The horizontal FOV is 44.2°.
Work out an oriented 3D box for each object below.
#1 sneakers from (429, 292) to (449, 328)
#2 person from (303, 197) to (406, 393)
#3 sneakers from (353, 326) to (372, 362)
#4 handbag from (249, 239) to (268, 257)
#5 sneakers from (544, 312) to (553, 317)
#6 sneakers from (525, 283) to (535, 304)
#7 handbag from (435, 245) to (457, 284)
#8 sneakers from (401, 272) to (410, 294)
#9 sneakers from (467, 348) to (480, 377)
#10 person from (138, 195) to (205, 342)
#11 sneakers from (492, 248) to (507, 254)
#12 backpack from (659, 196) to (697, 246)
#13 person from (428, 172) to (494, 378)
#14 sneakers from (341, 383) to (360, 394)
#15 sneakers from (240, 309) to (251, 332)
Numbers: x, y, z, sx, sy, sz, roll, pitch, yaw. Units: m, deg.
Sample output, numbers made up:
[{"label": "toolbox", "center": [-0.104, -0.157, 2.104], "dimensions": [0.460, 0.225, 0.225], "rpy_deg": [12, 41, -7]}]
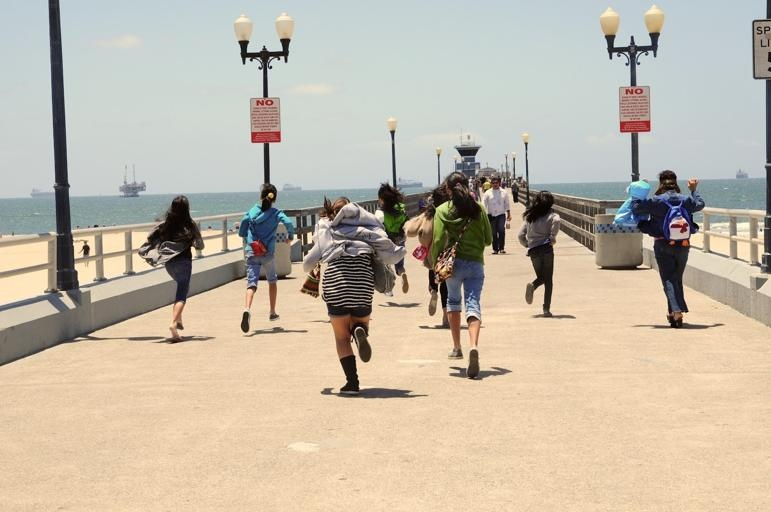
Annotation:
[{"label": "sneakers", "center": [0.798, 0.783, 13.973], "dimensions": [0.213, 0.677, 0.291], "rpy_deg": [-4, 1, -5]}, {"label": "person", "center": [-0.363, 0.475, 10.962], "dimensions": [0.793, 2.087, 0.864], "rpy_deg": [-8, 10, -41]}, {"label": "sneakers", "center": [-0.227, 0.987, 10.748], "dimensions": [0.169, 0.447, 0.189], "rpy_deg": [-14, -15, -16]}, {"label": "handbag", "center": [-2.042, -0.118, 15.139], "dimensions": [0.224, 0.223, 0.109], "rpy_deg": [-18, 1, -7]}, {"label": "sneakers", "center": [2.639, 0.947, 15.369], "dimensions": [0.148, 0.076, 0.210], "rpy_deg": [0, 8, 7]}, {"label": "sneakers", "center": [2.345, 0.613, 15.528], "dimensions": [0.148, 0.367, 0.156], "rpy_deg": [4, -2, 22]}, {"label": "handbag", "center": [0.749, 0.088, 11.785], "dimensions": [0.267, 0.476, 0.319], "rpy_deg": [-1, 8, 3]}, {"label": "sneakers", "center": [0.373, 0.510, 17.058], "dimensions": [0.145, 0.387, 0.154], "rpy_deg": [-11, 5, -8]}, {"label": "sneakers", "center": [1.039, 1.285, 11.274], "dimensions": [0.133, 0.343, 0.136], "rpy_deg": [-1, 4, -1]}, {"label": "person", "center": [-3.175, 0.156, 14.219], "dimensions": [0.850, 2.082, 1.106], "rpy_deg": [-3, 8, -11]}, {"label": "sneakers", "center": [3.235, -0.119, 27.136], "dimensions": [0.435, 0.182, 0.146], "rpy_deg": [-1, 3, 23]}, {"label": "backpack", "center": [4.440, -0.511, 14.309], "dimensions": [0.500, 0.619, 0.395], "rpy_deg": [-1, 8, 2]}, {"label": "person", "center": [0.950, 0.192, 11.886], "dimensions": [0.748, 2.427, 1.438], "rpy_deg": [-1, 8, 3]}, {"label": "sneakers", "center": [-0.405, 1.499, 10.738], "dimensions": [0.214, 0.129, 0.152], "rpy_deg": [-1, 8, -3]}, {"label": "sneakers", "center": [-2.091, 0.958, 14.016], "dimensions": [0.168, 0.357, 0.153], "rpy_deg": [2, -4, 12]}]
